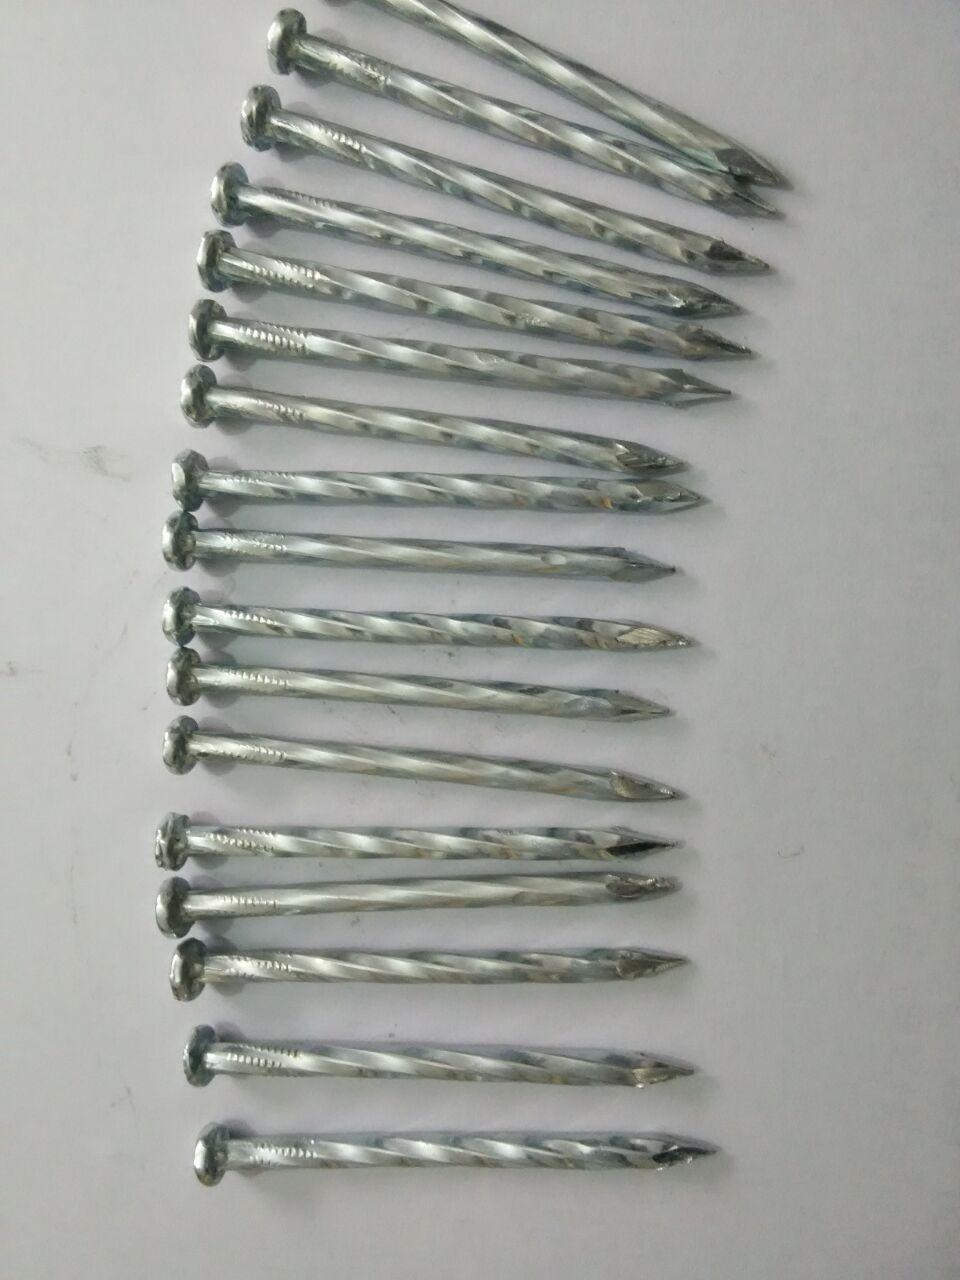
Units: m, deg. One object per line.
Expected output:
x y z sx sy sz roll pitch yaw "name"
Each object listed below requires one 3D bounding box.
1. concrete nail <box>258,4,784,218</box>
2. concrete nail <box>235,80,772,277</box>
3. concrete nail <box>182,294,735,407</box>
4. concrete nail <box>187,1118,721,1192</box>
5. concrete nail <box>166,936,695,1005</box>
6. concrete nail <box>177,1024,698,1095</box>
0.025 -0.570 1.880 0.696 0.096 0.080 15 83 -4 "concrete nail"
0.015 -0.497 1.871 0.616 0.082 0.075 13 55 -4 "concrete nail"
-0.007 -0.314 1.866 0.639 0.086 0.079 4 99 0 "concrete nail"
-0.009 0.556 1.877 0.642 0.096 0.086 0 93 1 "concrete nail"
-0.033 0.354 1.869 0.556 0.079 0.073 0 104 1 "concrete nail"
-0.025 0.451 1.869 0.546 0.082 0.072 1 93 -1 "concrete nail"
